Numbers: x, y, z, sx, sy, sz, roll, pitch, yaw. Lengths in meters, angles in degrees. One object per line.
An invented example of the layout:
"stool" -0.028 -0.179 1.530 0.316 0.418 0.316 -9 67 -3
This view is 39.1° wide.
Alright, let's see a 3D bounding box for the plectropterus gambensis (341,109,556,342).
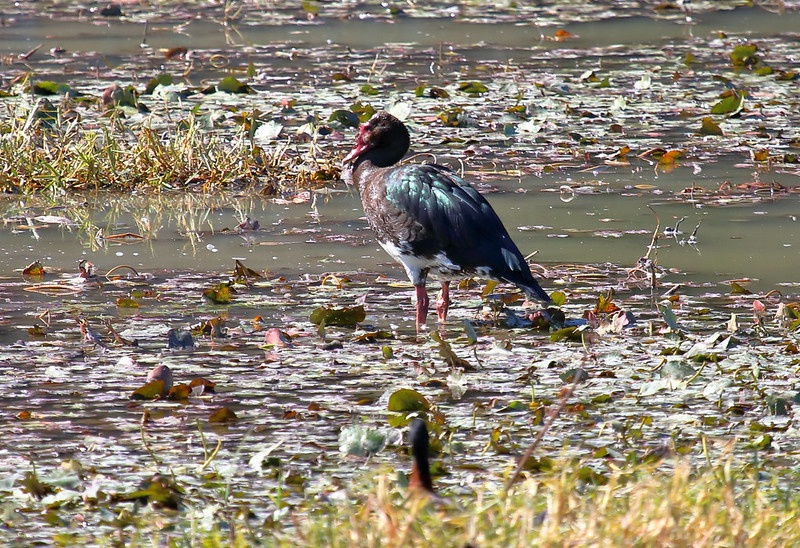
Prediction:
"plectropterus gambensis" 0.176 -0.391 7.051 0.756 1.330 1.607 -9 8 -17
